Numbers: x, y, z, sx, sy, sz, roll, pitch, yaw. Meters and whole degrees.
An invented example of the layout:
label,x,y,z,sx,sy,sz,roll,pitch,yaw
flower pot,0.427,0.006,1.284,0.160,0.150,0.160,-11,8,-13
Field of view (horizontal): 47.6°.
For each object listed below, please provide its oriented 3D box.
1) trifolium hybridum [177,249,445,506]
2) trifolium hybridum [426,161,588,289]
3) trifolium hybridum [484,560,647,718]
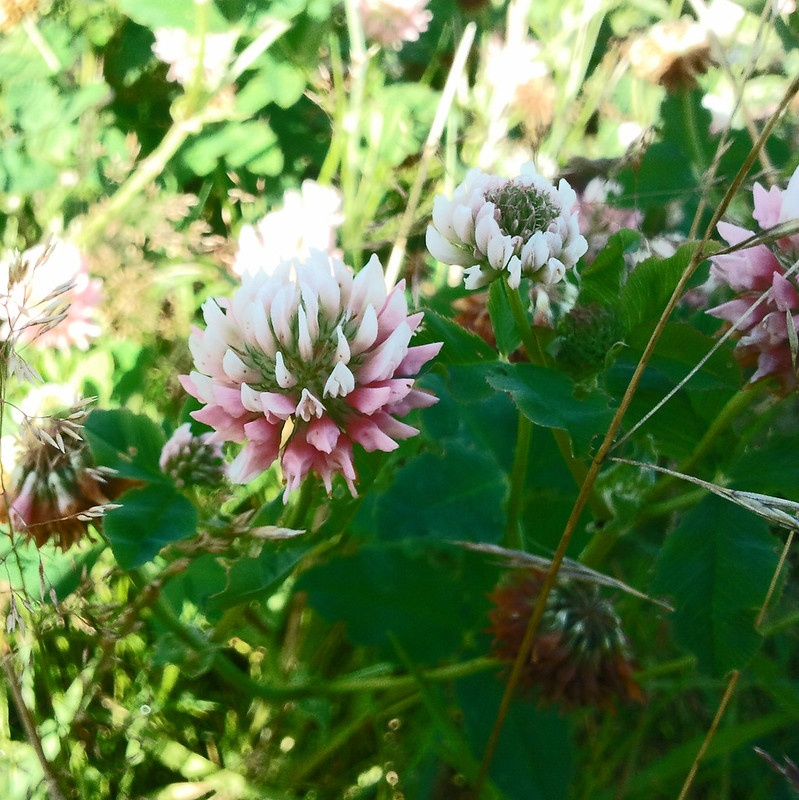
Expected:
label,x,y,z,sx,sy,sz,roll,pitch,yaw
trifolium hybridum,-0.056,-0.003,0.548,0.139,0.089,0.131,40,76,6
trifolium hybridum,0.061,-0.108,0.555,0.093,0.049,0.078,13,18,41
trifolium hybridum,0.080,0.116,0.438,0.078,0.043,0.068,3,58,-13
